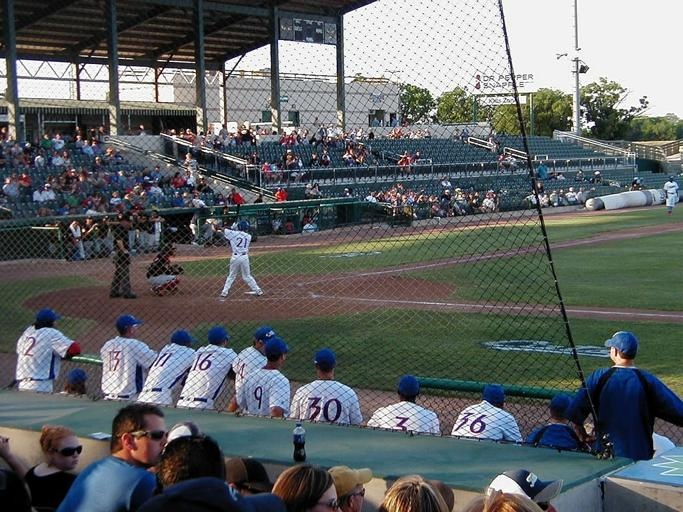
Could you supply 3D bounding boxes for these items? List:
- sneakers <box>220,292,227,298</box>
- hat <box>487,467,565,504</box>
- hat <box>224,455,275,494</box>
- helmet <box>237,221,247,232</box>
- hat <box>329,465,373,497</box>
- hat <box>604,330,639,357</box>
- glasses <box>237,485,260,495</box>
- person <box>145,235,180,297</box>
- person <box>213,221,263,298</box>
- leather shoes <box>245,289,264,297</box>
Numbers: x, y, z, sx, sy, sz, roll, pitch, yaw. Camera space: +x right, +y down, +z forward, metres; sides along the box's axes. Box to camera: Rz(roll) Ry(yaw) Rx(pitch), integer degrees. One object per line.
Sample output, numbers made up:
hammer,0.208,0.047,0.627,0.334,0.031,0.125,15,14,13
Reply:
sneakers,-2.280,0.747,20.271,0.073,0.093,0.141,10,2,7
hat,1.614,1.984,9.220,0.514,0.186,0.339,-9,6,1
hat,-0.807,1.948,9.388,0.384,0.207,0.268,19,8,8
helmet,-1.897,-0.585,20.245,0.152,0.182,0.195,3,23,3
hat,0.070,1.984,9.377,0.229,0.231,0.558,-1,3,36
hat,3.030,0.944,11.265,0.258,0.190,0.330,-4,22,-12
glasses,-0.815,2.057,9.280,0.130,0.075,0.101,7,-11,-14
person,-3.543,0.257,20.726,0.545,1.016,0.673,-3,3,3
person,-2.013,0.051,20.711,0.851,1.492,1.262,-4,3,-5
leather shoes,-1.729,0.719,20.684,0.425,0.177,0.135,6,42,22
